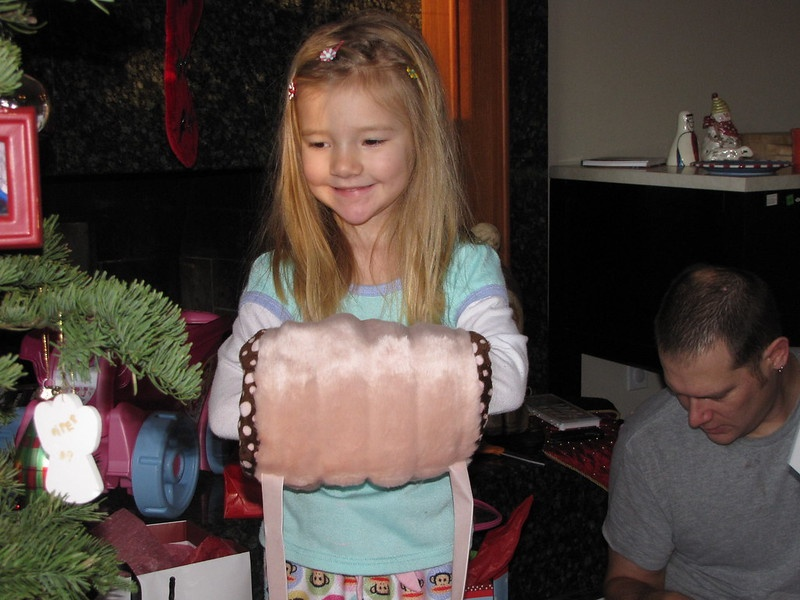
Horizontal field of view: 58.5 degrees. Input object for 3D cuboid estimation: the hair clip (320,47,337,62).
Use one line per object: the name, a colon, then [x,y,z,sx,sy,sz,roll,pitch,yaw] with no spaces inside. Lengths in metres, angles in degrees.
hair clip: [-0.103,-0.359,1.035,0.014,0.007,0.039,2,34,16]

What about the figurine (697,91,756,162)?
figurine: [1.025,-0.550,2.273,0.118,0.214,0.137,-18,19,-39]

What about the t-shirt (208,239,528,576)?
t-shirt: [-0.045,0.157,1.101,0.427,0.513,0.272,-1,2,-1]

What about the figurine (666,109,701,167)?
figurine: [0.886,-0.510,2.249,0.090,0.189,0.178,3,7,20]

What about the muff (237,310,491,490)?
muff: [-0.040,0.117,0.801,0.278,0.194,0.082,1,6,1]
